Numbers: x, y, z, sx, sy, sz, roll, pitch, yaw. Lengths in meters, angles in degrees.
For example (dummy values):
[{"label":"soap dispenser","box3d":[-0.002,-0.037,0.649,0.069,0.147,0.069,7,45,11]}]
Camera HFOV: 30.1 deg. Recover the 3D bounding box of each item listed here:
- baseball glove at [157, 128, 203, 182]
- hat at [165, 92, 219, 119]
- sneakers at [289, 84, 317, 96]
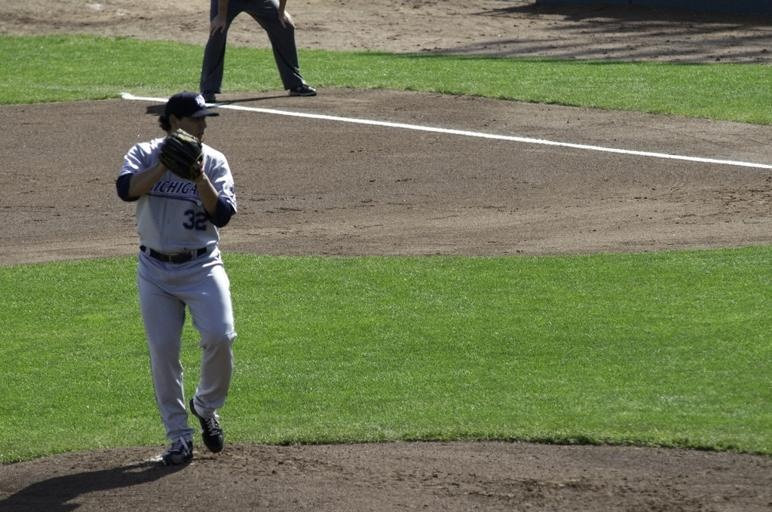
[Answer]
[{"label":"baseball glove","box3d":[-2.450,-1.193,17.230,0.675,0.422,0.474,-3,-28,9]},{"label":"hat","box3d":[-2.363,-1.841,17.536,0.567,0.227,0.342,-4,13,2]},{"label":"sneakers","box3d":[-1.511,-2.982,25.986,0.571,0.218,0.195,-2,6,8]}]
